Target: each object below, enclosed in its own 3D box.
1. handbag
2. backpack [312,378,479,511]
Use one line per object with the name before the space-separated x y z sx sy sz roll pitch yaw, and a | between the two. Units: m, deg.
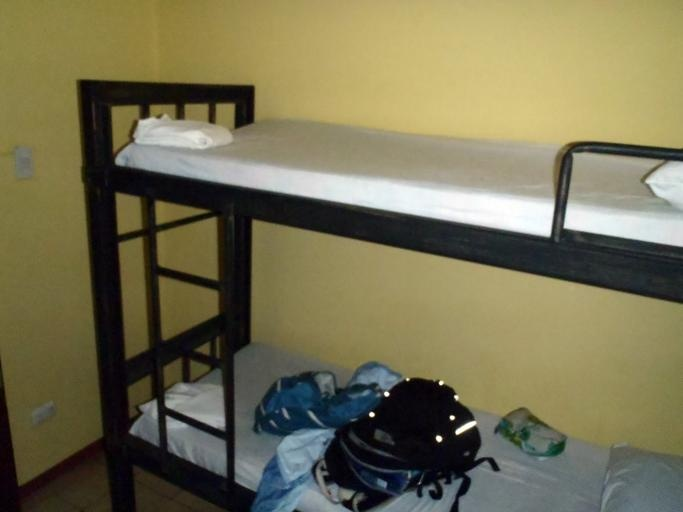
handbag | -0.191 0.955 3.696 0.509 0.194 0.446 -2 8 13
backpack | 0.375 1.084 3.337 0.811 0.355 0.609 -22 61 -24
